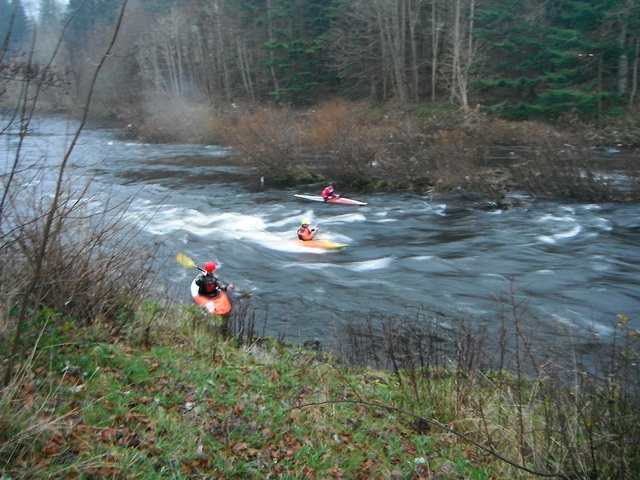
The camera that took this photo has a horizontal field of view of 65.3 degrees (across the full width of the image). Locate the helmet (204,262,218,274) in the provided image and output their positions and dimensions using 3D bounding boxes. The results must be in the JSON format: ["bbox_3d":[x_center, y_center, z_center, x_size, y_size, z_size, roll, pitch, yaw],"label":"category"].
[{"bbox_3d":[-2.847,0.726,13.135,0.353,0.279,0.365,12,9,-3],"label":"helmet"}]

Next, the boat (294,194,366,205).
[{"bbox_3d":[0.496,-1.793,22.366,2.506,0.092,0.412,10,12,35],"label":"boat"}]

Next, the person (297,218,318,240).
[{"bbox_3d":[-0.464,-0.348,17.174,0.598,0.692,0.549,-13,15,-36],"label":"person"}]

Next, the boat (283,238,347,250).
[{"bbox_3d":[-0.254,0.153,16.955,1.957,0.214,0.509,4,4,20],"label":"boat"}]
